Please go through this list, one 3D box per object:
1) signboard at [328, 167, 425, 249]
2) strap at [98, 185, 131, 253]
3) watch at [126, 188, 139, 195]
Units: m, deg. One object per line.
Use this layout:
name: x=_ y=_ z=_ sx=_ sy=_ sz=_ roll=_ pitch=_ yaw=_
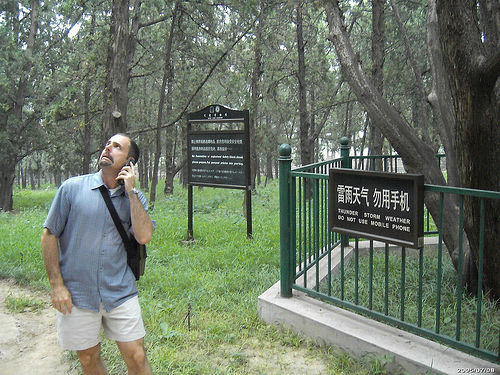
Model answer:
signboard: x=1.530 y=0.239 z=5.161 sx=0.140 sy=0.909 sz=1.143 roll=-2 pitch=4 yaw=-40
strap: x=-1.376 y=0.323 z=4.258 sx=0.067 sy=0.690 sz=0.095 roll=-24 pitch=1 yaw=-14
watch: x=-1.160 y=0.052 z=4.242 sx=0.067 sy=0.054 sz=0.074 roll=5 pitch=-16 yaw=-36
